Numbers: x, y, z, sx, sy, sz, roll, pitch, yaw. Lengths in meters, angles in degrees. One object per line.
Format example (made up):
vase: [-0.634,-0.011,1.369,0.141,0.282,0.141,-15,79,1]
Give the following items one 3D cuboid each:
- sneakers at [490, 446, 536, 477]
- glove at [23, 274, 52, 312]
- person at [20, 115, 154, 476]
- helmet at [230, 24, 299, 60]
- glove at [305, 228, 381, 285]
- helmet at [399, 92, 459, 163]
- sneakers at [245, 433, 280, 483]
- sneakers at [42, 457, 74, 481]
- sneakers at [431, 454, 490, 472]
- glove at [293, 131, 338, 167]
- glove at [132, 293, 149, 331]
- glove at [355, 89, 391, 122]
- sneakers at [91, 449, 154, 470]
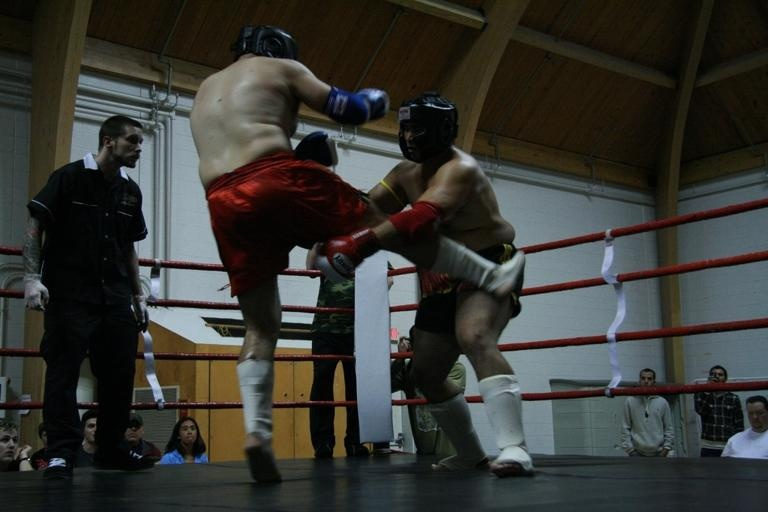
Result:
sneakers: [0.599,0.953,3.200,0.163,0.133,0.070,0,25,-4]
glove: [-1.839,0.207,3.658,0.077,0.191,0.143,-25,-28,4]
person: [-1.629,0.197,3.852,0.736,1.963,0.520,6,-15,-27]
helmet: [-0.599,-1.054,3.500,0.256,0.151,0.201,-1,0,-21]
glove: [-0.181,0.003,3.279,0.289,0.212,0.141,-36,-29,3]
helmet: [0.223,-0.659,3.636,0.338,0.351,0.314,5,-9,-30]
sneakers: [-0.564,0.940,3.142,0.135,0.073,0.247,-7,-53,-2]
sneakers: [-1.679,1.089,3.541,0.140,0.105,0.224,5,-14,-24]
sneakers: [0.403,1.104,3.630,0.303,0.076,0.106,5,-21,-8]
glove: [-0.306,-0.512,3.292,0.258,0.176,0.116,11,-18,-43]
glove: [-1.460,0.350,4.133,0.067,0.193,0.138,-5,-6,-9]
glove: [-0.041,-0.748,3.498,0.148,0.169,0.193,9,33,19]
sneakers: [-1.451,1.134,3.815,0.224,0.088,0.177,0,-10,-2]
